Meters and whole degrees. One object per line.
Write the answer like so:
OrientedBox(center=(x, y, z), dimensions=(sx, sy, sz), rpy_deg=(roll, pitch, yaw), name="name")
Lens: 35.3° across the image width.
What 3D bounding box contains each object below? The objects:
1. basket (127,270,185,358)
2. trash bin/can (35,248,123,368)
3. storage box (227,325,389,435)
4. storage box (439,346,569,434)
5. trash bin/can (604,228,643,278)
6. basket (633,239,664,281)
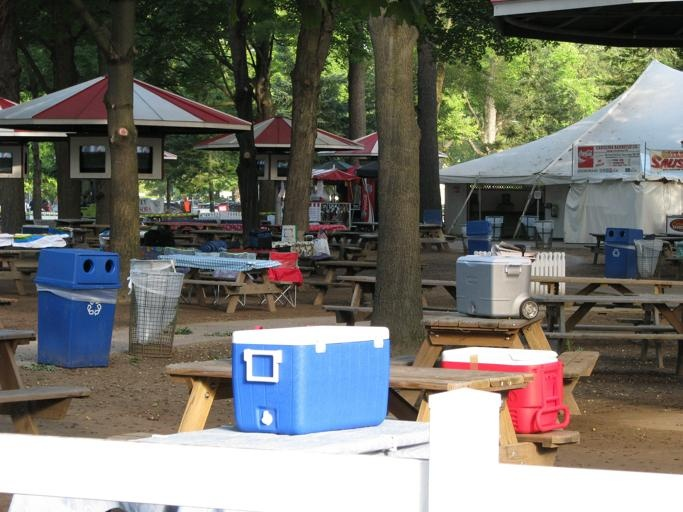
OrientedBox(center=(-2.269, 0.687, 13.081), dimensions=(0.624, 1.004, 0.286), rpy_deg=(0, 5, -7), name="basket")
OrientedBox(center=(-3.066, 0.587, 12.360), dimensions=(0.853, 1.248, 0.880), rpy_deg=(2, -2, 31), name="trash bin/can")
OrientedBox(center=(-0.216, 0.742, 6.686), dimensions=(0.737, 0.459, 0.729), rpy_deg=(-1, -3, 0), name="storage box")
OrientedBox(center=(1.328, 0.945, 8.244), dimensions=(1.033, 0.541, 0.600), rpy_deg=(0, 0, 43), name="storage box")
OrientedBox(center=(5.497, -0.041, 21.235), dimensions=(0.721, 0.955, 0.730), rpy_deg=(1, 3, -13), name="trash bin/can")
OrientedBox(center=(5.442, 0.053, 19.256), dimensions=(0.418, 0.647, 0.555), rpy_deg=(1, 5, 14), name="basket")
